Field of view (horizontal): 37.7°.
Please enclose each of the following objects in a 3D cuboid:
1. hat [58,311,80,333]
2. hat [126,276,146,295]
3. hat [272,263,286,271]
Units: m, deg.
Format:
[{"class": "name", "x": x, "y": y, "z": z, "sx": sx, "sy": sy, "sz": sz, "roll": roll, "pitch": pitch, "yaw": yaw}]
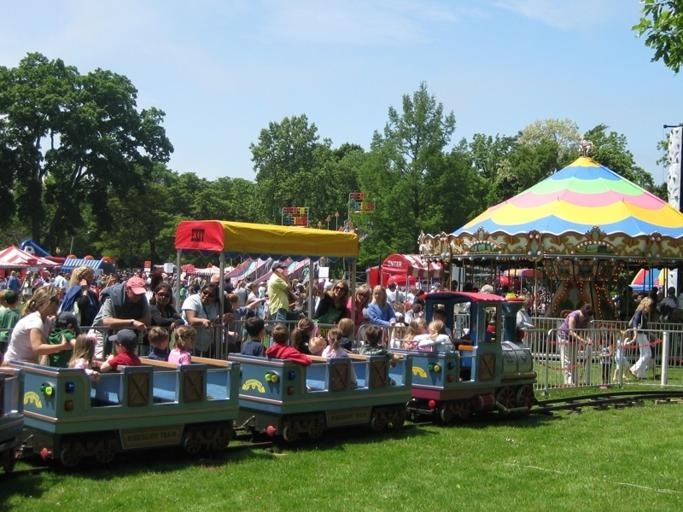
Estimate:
[{"class": "hat", "x": -4.374, "y": 1.069, "z": 16.146, "sx": 0.246, "sy": 0.368, "sz": 0.333, "roll": 5, "pitch": 12, "yaw": 43}, {"class": "hat", "x": -3.631, "y": 0.512, "z": 17.690, "sx": 0.244, "sy": 0.197, "sz": 0.348, "roll": 7, "pitch": 4, "yaw": -34}, {"class": "hat", "x": -1.367, "y": 0.226, "z": 22.023, "sx": 0.266, "sy": 0.166, "sz": 0.496, "roll": 2, "pitch": 10, "yaw": -3}]
